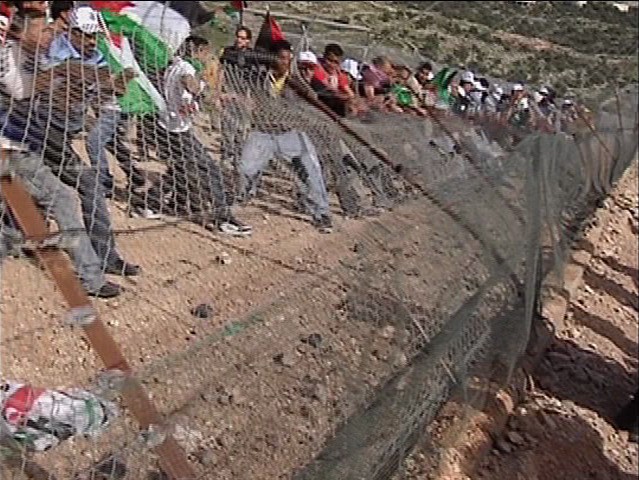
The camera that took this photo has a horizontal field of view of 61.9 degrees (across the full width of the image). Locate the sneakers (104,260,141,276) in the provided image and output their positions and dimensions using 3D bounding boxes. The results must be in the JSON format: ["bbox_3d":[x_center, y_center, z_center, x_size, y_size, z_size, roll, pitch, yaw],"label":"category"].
[{"bbox_3d":[-1.712,0.243,4.599,0.104,0.080,0.268,-10,-12,36],"label":"sneakers"}]
